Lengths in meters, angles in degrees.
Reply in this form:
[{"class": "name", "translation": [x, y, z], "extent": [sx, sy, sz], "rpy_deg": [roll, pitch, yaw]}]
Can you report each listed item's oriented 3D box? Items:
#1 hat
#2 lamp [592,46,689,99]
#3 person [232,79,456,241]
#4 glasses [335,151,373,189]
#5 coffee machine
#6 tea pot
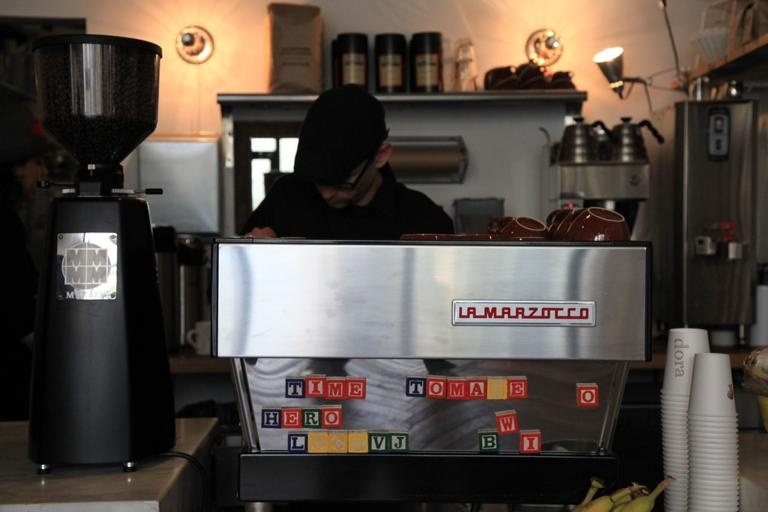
[{"class": "hat", "translation": [-0.116, -0.361, 2.618], "extent": [0.114, 0.301, 0.326], "rpy_deg": [2, 4, 40]}, {"class": "lamp", "translation": [1.134, -0.779, 3.869], "extent": [0.458, 0.180, 0.101], "rpy_deg": [3, 11, -23]}, {"class": "person", "translation": [-0.125, -0.258, 2.878], "extent": [0.790, 0.583, 0.478], "rpy_deg": [2, 20, 4]}, {"class": "glasses", "translation": [-0.075, -0.254, 2.704], "extent": [0.043, 0.113, 0.087], "rpy_deg": [37, 2, -26]}, {"class": "coffee machine", "translation": [-0.762, -0.020, 2.285], "extent": [0.463, 1.051, 0.442], "rpy_deg": [-1, 2, -30]}, {"class": "tea pot", "translation": [0.911, -0.458, 3.676], "extent": [0.379, 0.143, 0.246], "rpy_deg": [1, 4, 7]}]
